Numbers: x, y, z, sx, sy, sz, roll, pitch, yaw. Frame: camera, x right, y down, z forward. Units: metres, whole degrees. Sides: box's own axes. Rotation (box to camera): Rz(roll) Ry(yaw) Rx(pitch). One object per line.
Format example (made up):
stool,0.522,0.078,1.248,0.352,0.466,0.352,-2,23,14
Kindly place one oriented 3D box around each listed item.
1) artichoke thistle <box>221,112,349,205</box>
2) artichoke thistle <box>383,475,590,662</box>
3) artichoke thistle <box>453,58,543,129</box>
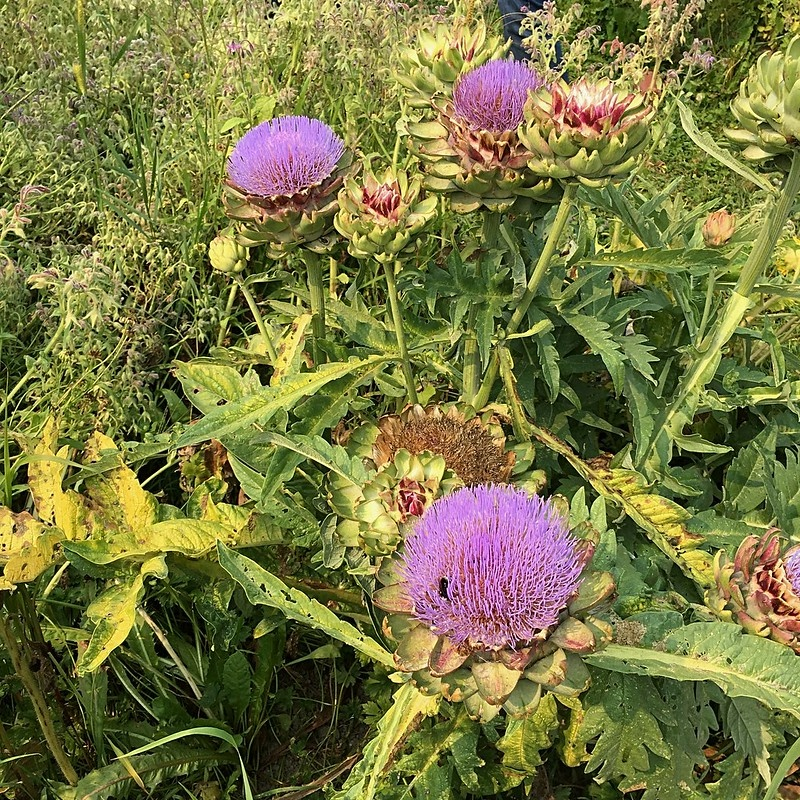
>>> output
artichoke thistle,-0.286,-0.619,2.122,0.275,0.077,0.301,35,59,25
artichoke thistle,0.155,0.291,1.460,0.324,0.126,0.274,-7,50,-5
artichoke thistle,0.237,-0.695,1.923,0.239,0.076,0.148,-18,52,-14
